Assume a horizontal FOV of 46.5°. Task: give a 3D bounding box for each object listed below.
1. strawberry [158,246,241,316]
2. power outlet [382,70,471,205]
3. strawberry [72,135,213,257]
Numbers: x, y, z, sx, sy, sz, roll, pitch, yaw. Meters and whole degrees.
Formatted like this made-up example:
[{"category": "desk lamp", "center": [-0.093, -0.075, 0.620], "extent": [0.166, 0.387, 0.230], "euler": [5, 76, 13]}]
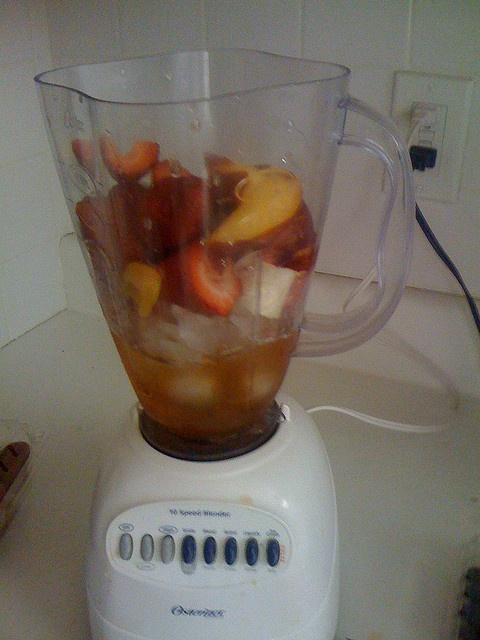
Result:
[{"category": "strawberry", "center": [-0.014, -0.029, 0.332], "extent": [0.038, 0.040, 0.017], "euler": [-2, 23, -8]}, {"category": "power outlet", "center": [0.191, -0.208, 0.632], "extent": [0.058, 0.118, 0.101], "euler": [19, 35, 24]}, {"category": "strawberry", "center": [-0.055, -0.069, 0.323], "extent": [0.073, 0.078, 0.060], "euler": [-1, 32, -3]}]
